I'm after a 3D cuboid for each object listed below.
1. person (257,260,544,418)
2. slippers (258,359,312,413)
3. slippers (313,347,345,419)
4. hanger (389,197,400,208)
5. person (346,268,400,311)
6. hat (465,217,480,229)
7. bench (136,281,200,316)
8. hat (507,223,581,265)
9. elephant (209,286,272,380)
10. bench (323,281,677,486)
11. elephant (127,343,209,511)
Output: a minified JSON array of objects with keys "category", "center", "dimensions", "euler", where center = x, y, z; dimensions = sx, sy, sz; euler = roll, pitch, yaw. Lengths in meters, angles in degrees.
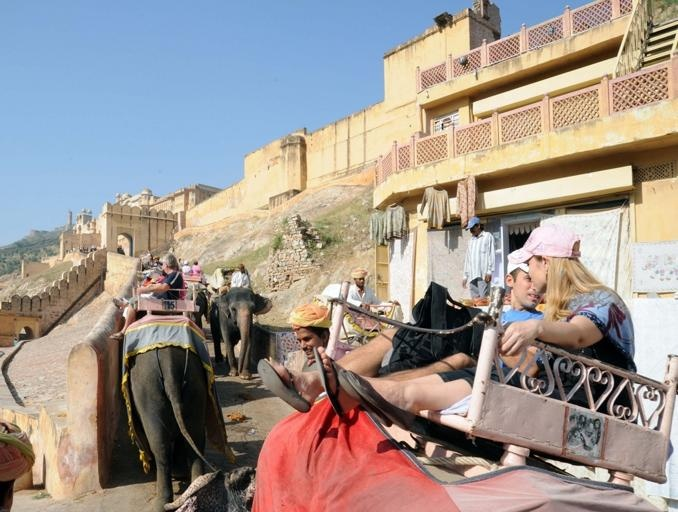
[{"category":"person","center":[0.443,0.880,5.851],"dimensions":[1.880,0.869,1.211],"euler":[-12,1,-28]},{"category":"slippers","center":[-0.460,0.926,5.521],"dimensions":[0.251,0.174,0.653],"euler":[46,-6,39]},{"category":"slippers","center":[-0.089,0.966,5.453],"dimensions":[0.132,0.539,0.194],"euler":[-19,9,-9]},{"category":"hanger","center":[1.296,-1.318,17.212],"dimensions":[0.171,0.224,0.232],"euler":[1,6,-17]},{"category":"person","center":[0.344,0.566,12.131],"dimensions":[0.619,0.604,0.813],"euler":[3,-6,-36]},{"category":"hat","center":[2.272,-0.575,12.147],"dimensions":[0.220,0.202,0.350],"euler":[3,6,43]},{"category":"bench","center":[-2.166,0.547,9.004],"dimensions":[0.724,0.395,0.782],"euler":[0,-1,-16]},{"category":"hat","center":[1.733,-0.120,6.125],"dimensions":[0.578,0.342,0.422],"euler":[3,4,33]},{"category":"elephant","center":[-2.130,1.486,14.609],"dimensions":[1.160,1.653,2.568],"euler":[3,-5,-17]},{"category":"bench","center":[1.103,1.064,5.916],"dimensions":[2.498,1.102,1.598],"euler":[19,-4,32]},{"category":"elephant","center":[-1.877,1.857,8.188],"dimensions":[0.899,1.668,0.966],"euler":[0,-1,-29]}]
